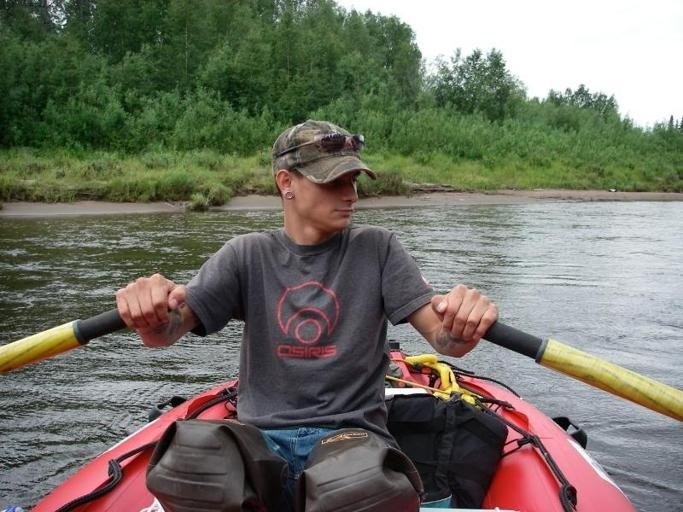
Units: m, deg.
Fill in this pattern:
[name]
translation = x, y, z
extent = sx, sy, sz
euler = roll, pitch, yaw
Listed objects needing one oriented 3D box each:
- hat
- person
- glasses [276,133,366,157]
[hat]
translation = -0.076, -0.414, 2.391
extent = 0.381, 0.183, 0.269
euler = 3, 6, 35
[person]
translation = -0.080, 0.129, 2.229
extent = 1.293, 1.300, 0.699
euler = 3, 12, 12
[glasses]
translation = -0.057, -0.454, 2.348
extent = 0.206, 0.056, 0.146
euler = -12, 7, 14
